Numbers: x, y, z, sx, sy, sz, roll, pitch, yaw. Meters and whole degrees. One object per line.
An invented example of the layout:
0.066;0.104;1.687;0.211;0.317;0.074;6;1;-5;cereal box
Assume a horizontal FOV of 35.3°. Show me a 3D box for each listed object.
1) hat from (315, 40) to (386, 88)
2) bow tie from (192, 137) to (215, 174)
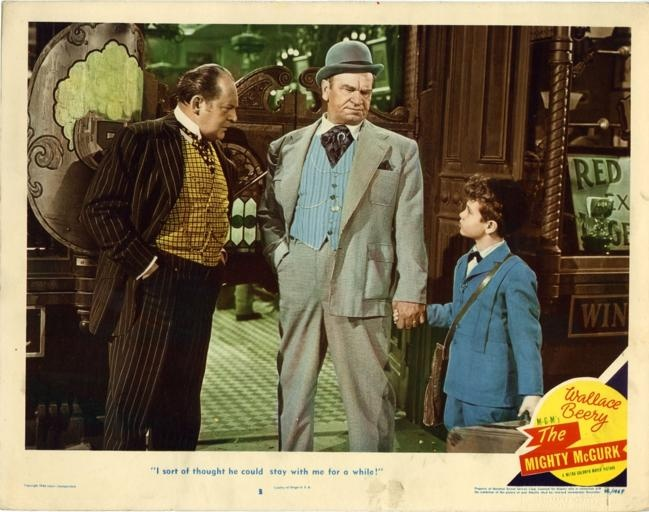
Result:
0.148;-1.168;6.271;0.429;0.227;0.549;-2;-7;-7;hat
-0.715;-0.615;6.171;0.073;0.303;0.068;-23;9;-3;bow tie
